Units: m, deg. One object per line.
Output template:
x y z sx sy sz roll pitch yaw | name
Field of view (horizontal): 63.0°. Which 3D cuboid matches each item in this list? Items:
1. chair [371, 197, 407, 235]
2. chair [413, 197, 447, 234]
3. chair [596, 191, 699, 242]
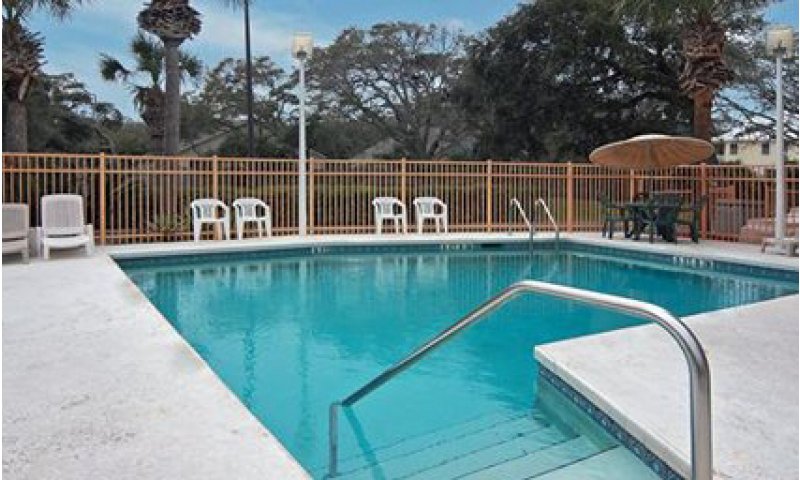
-0.339 -0.798 20.517 0.969 1.282 1.171 0 -1 -9 | chair
0.944 -0.816 20.631 1.069 1.169 1.026 0 2 1 | chair
6.981 -0.663 18.216 2.445 1.421 1.658 1 6 31 | chair
